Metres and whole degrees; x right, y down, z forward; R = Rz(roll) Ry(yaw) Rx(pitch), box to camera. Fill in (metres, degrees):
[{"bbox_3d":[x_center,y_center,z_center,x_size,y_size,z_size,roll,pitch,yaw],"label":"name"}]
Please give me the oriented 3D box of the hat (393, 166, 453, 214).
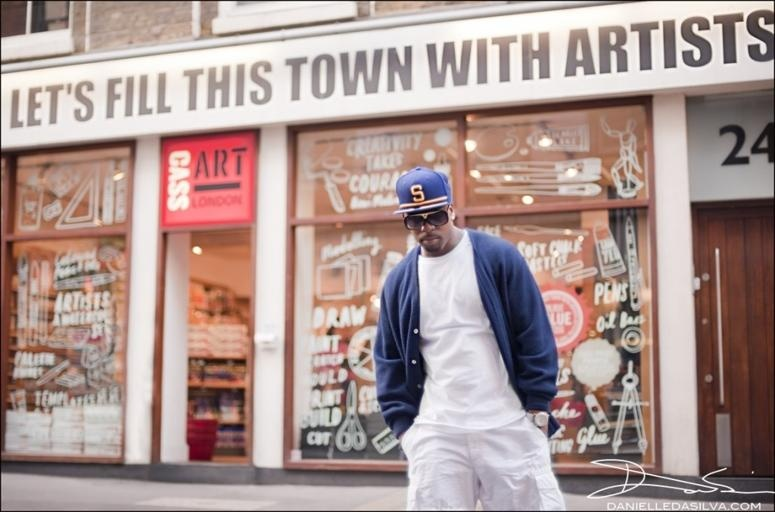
[{"bbox_3d":[0.393,-0.650,10.610,0.377,0.314,0.518,-5,2,18],"label":"hat"}]
